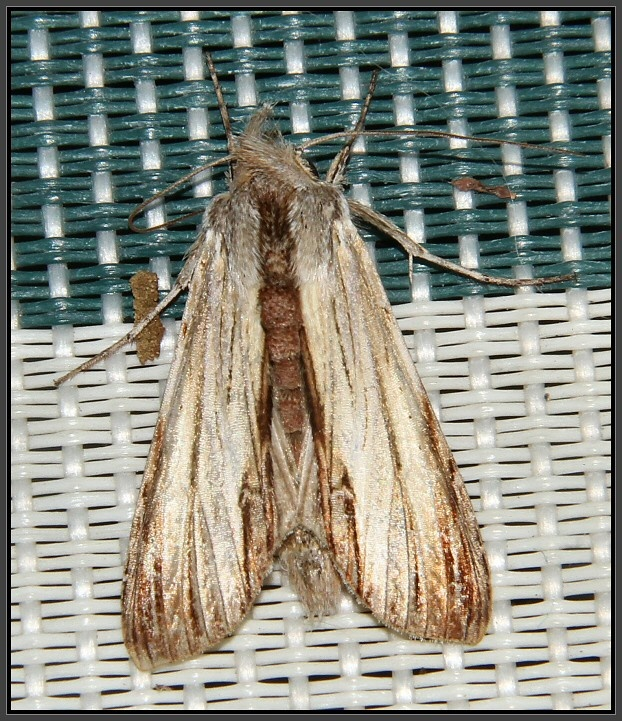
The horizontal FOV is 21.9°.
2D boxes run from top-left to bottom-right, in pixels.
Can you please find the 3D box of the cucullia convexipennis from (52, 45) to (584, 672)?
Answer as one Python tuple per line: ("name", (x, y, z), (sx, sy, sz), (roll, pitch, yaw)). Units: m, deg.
("cucullia convexipennis", (-0.094, 0.042, 3.506), (1.375, 1.131, 0.376), (-7, -3, 7))
